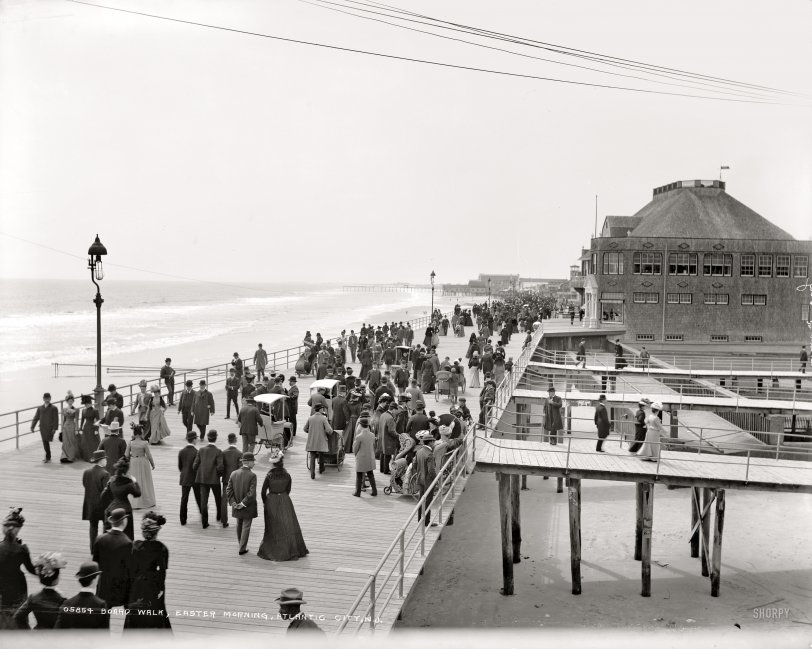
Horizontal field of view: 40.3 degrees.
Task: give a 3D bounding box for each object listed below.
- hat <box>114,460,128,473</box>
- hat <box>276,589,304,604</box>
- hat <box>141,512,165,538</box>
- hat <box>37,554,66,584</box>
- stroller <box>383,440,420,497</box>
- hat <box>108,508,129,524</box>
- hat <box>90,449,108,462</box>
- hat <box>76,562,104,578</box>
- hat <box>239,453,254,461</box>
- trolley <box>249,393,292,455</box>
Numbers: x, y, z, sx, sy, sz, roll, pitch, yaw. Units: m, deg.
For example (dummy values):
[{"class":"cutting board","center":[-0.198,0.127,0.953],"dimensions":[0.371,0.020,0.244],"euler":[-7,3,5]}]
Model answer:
[{"class":"hat","center":[-6.044,3.023,23.671],"dimensions":[0.240,0.336,0.448],"euler":[-1,10,-17]},{"class":"hat","center":[-2.067,4.994,20.458],"dimensions":[0.438,0.286,0.383],"euler":[2,9,-4]},{"class":"hat","center":[-4.917,3.896,21.681],"dimensions":[0.387,0.481,0.788],"euler":[0,9,-12]},{"class":"hat","center":[-6.590,4.480,20.765],"dimensions":[0.506,0.558,0.528],"euler":[2,6,14]},{"class":"stroller","center":[-0.020,3.503,27.692],"dimensions":[0.890,1.401,0.938],"euler":[2,-1,6]},{"class":"hat","center":[-5.614,3.701,21.651],"dimensions":[0.316,0.328,0.368],"euler":[-2,10,-25]},{"class":"hat","center":[-6.685,2.852,24.190],"dimensions":[0.270,0.229,0.435],"euler":[0,10,-15]},{"class":"hat","center":[-5.792,4.487,20.302],"dimensions":[0.352,0.341,0.337],"euler":[0,9,-16]},{"class":"hat","center":[-3.520,2.917,24.583],"dimensions":[0.230,0.093,0.266],"euler":[-1,2,-23]},{"class":"trolley","center":[-3.639,2.699,30.262],"dimensions":[0.762,1.210,1.171],"euler":[4,4,16]}]
